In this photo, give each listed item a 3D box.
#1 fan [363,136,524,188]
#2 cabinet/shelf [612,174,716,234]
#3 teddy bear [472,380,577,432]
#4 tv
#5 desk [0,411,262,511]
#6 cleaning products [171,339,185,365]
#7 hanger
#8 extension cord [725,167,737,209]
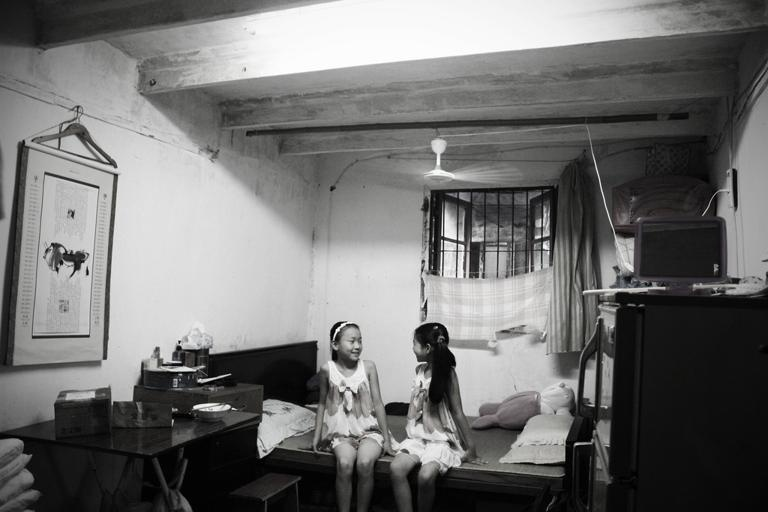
[{"bbox_3d":[0.677,-1.070,6.745,1.974,0.527,0.178,-3,-5,13],"label":"fan"},{"bbox_3d":[2.939,-0.548,6.016,1.104,0.837,0.429,0,-5,32],"label":"cabinet/shelf"},{"bbox_3d":[1.466,1.559,5.782,0.749,0.282,0.567,-20,-2,7],"label":"teddy bear"},{"bbox_3d":[1.785,-0.020,3.312,0.497,0.412,0.291,1,0,38],"label":"tv"},{"bbox_3d":[-1.599,1.216,3.722,0.865,0.462,0.895,-4,-13,16],"label":"desk"},{"bbox_3d":[-1.804,0.840,4.923,0.124,0.198,0.077,-3,-5,15],"label":"cleaning products"},{"bbox_3d":[-2.300,-0.926,4.176,0.616,0.372,0.051,16,24,-4],"label":"hanger"},{"bbox_3d":[2.878,-0.549,4.579,0.055,0.346,0.166,-4,-6,27],"label":"extension cord"}]
